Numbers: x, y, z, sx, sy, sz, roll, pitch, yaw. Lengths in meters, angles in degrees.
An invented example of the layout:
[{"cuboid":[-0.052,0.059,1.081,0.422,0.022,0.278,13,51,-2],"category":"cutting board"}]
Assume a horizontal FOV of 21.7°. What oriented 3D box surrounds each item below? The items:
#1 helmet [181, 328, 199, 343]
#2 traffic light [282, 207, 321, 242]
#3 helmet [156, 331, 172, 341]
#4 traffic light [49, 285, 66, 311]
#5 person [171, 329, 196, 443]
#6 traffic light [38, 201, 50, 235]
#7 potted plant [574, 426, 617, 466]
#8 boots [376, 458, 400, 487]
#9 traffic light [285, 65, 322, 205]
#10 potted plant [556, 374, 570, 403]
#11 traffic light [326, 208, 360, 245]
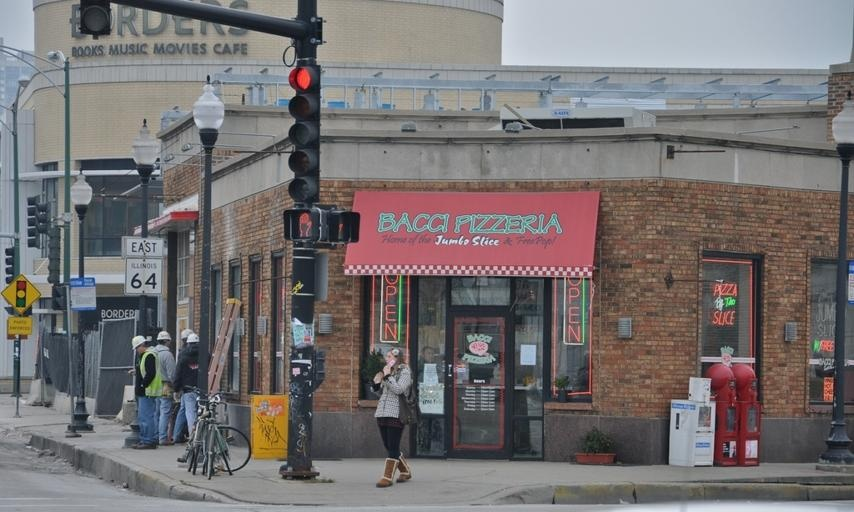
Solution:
[{"cuboid":[-7.916,2.683,75.057,0.460,0.298,0.599,1,-11,-8],"category":"helmet"},{"cuboid":[-3.794,-0.990,69.423,1.146,1.034,0.561,2,5,13],"category":"traffic light"},{"cuboid":[-8.934,2.709,76.204,0.553,0.290,0.643,0,-3,-9],"category":"helmet"},{"cuboid":[-13.352,1.448,81.620,0.378,0.956,1.938,2,-8,-16],"category":"traffic light"},{"cuboid":[-8.006,4.374,75.419,0.937,3.462,1.022,-2,-1,-8],"category":"person"},{"cuboid":[-14.639,-1.441,85.638,0.432,1.236,1.142,1,-8,-9],"category":"traffic light"},{"cuboid":[5.635,6.184,72.738,1.356,1.029,1.328,1,-1,-40],"category":"potted plant"},{"cuboid":[-1.171,6.753,69.773,0.664,0.905,0.783,-1,-8,7],"category":"boots"},{"cuboid":[-3.759,-3.727,69.774,1.354,3.859,1.359,0,-1,-9],"category":"traffic light"},{"cuboid":[4.489,4.295,72.850,0.436,0.838,0.243,-1,-8,3],"category":"potted plant"},{"cuboid":[-2.602,-0.929,69.523,1.252,1.086,0.633,2,-1,-43],"category":"traffic light"}]
